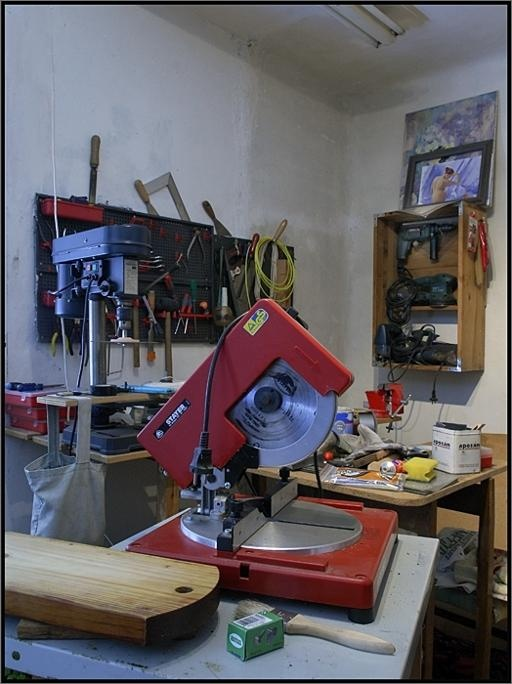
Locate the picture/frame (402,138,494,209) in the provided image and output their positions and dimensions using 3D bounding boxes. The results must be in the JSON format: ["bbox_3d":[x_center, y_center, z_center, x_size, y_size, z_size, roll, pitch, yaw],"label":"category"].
[{"bbox_3d":[1.158,-1.000,3.479,0.157,0.375,0.574,-8,8,-41],"label":"picture/frame"}]

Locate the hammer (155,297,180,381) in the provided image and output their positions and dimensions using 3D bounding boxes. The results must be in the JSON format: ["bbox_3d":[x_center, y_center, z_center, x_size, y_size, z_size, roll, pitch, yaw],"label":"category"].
[{"bbox_3d":[-0.435,-0.018,2.827,0.082,0.392,0.063,6,8,37],"label":"hammer"}]

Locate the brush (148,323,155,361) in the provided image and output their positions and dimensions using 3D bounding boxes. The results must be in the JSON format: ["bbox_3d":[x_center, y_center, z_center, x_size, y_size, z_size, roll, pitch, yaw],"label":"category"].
[{"bbox_3d":[-0.506,0.009,2.779,0.042,0.203,0.074,3,12,-9],"label":"brush"}]

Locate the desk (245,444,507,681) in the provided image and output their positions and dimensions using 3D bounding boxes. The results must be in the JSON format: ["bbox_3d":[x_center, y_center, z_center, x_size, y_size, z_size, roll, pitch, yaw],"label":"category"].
[{"bbox_3d":[0.483,0.587,2.013,0.841,0.865,0.888,-1,-3,30],"label":"desk"}]

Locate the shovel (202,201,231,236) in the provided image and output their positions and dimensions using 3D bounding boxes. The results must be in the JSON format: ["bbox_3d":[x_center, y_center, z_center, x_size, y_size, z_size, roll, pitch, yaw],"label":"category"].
[{"bbox_3d":[-0.224,-0.670,3.198,0.024,0.073,0.268,-6,-33,32],"label":"shovel"}]

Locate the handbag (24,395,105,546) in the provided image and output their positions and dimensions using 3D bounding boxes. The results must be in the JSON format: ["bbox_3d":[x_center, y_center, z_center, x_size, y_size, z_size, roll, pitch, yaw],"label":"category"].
[{"bbox_3d":[-0.513,0.405,1.648,0.213,0.509,0.214,10,11,43],"label":"handbag"}]

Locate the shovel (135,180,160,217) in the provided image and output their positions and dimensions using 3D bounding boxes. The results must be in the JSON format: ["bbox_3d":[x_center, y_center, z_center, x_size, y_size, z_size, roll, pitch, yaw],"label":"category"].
[{"bbox_3d":[-0.538,-0.697,2.806,0.116,0.157,0.093,3,12,-14],"label":"shovel"}]

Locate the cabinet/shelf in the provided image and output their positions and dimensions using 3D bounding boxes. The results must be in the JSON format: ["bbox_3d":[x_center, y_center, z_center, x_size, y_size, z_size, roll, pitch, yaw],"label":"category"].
[{"bbox_3d":[1.036,-0.322,3.528,0.690,0.969,0.355,2,6,38],"label":"cabinet/shelf"}]

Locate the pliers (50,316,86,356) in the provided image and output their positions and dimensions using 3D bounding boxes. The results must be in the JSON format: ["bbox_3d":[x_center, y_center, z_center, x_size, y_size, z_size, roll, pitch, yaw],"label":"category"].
[{"bbox_3d":[-0.790,-0.030,2.411,0.143,0.161,0.037,16,-2,-22],"label":"pliers"}]

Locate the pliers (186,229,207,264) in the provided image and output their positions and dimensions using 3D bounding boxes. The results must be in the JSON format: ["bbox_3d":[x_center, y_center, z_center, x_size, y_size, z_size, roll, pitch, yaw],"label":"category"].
[{"bbox_3d":[-0.309,-0.502,3.018,0.061,0.174,0.177,10,13,21],"label":"pliers"}]

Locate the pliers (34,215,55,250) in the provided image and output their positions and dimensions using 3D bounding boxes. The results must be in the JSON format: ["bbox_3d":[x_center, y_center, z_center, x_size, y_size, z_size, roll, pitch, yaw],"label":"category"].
[{"bbox_3d":[-0.850,-0.446,2.321,0.085,0.149,0.045,1,3,8],"label":"pliers"}]
